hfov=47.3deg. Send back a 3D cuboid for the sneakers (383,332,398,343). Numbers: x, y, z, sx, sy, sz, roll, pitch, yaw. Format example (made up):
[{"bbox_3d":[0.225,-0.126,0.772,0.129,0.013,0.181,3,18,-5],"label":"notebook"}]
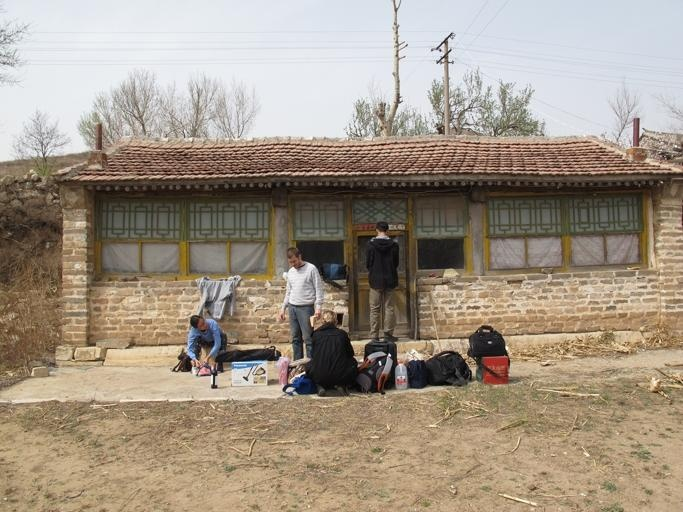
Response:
[{"bbox_3d":[0.978,1.580,14.989,0.329,0.247,0.122,-7,7,-40],"label":"sneakers"}]

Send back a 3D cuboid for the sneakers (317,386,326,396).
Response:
[{"bbox_3d":[-0.332,2.266,13.048,0.130,0.133,0.233,3,4,-11],"label":"sneakers"}]

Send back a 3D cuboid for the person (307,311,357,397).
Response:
[{"bbox_3d":[-0.137,1.617,13.001,0.846,1.401,0.550,0,-1,-3],"label":"person"}]

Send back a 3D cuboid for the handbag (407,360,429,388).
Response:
[{"bbox_3d":[1.284,2.039,13.378,0.317,0.470,0.434,0,4,-13],"label":"handbag"}]

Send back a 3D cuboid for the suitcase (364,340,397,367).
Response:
[{"bbox_3d":[0.678,1.756,13.373,0.576,0.644,0.337,0,-6,1],"label":"suitcase"}]

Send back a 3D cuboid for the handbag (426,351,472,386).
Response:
[{"bbox_3d":[1.850,1.963,13.362,0.568,0.611,0.557,4,-14,-8],"label":"handbag"}]

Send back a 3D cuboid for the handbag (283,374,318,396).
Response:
[{"bbox_3d":[-0.707,2.197,13.102,0.425,0.469,0.349,0,-1,6],"label":"handbag"}]

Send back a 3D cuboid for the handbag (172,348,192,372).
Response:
[{"bbox_3d":[-2.998,1.970,14.776,0.276,0.435,0.391,1,2,-3],"label":"handbag"}]

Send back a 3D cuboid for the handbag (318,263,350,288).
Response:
[{"bbox_3d":[-0.129,0.389,15.484,0.672,0.545,0.400,0,-2,-14],"label":"handbag"}]

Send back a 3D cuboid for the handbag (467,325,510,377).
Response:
[{"bbox_3d":[2.425,1.634,13.624,0.719,1.159,0.810,-1,1,4],"label":"handbag"}]
